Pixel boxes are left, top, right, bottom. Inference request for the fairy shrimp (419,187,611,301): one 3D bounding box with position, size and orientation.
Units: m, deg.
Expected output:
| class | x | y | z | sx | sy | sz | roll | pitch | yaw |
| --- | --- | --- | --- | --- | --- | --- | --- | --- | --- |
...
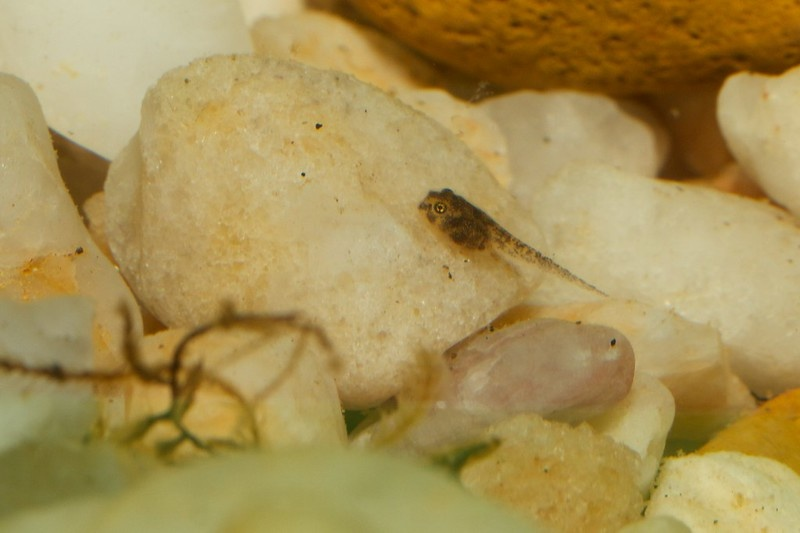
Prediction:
| class | x | y | z | sx | sy | sz | roll | pitch | yaw |
| --- | --- | --- | --- | --- | --- | --- | --- | --- | --- |
| fairy shrimp | 0.105 | -0.017 | 1.243 | 0.136 | 0.024 | 0.031 | 32 | 51 | -6 |
